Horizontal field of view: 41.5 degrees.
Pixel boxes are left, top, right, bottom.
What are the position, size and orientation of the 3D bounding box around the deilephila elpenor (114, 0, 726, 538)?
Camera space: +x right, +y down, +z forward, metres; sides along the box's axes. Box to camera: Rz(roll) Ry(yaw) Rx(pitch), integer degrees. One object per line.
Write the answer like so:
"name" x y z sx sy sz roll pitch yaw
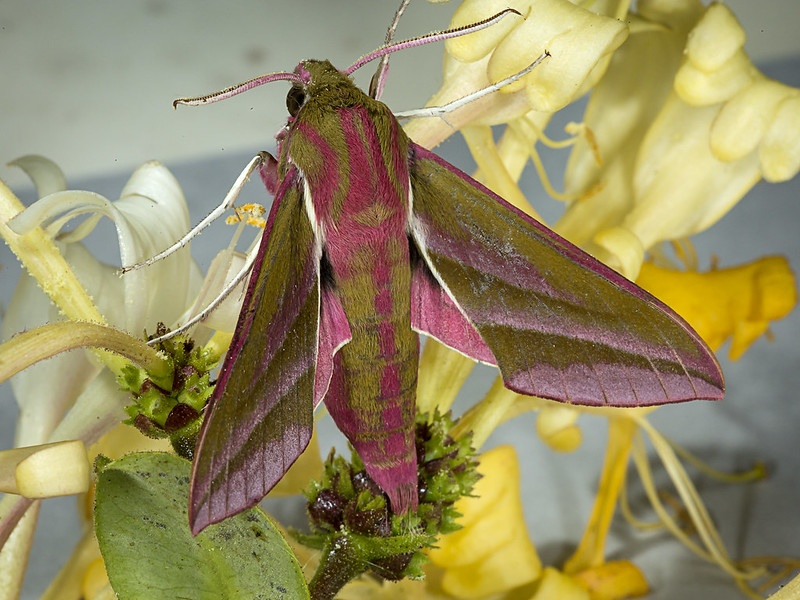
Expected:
"deilephila elpenor" -0.002 -0.022 0.790 0.396 0.328 0.224 -20 24 -10
